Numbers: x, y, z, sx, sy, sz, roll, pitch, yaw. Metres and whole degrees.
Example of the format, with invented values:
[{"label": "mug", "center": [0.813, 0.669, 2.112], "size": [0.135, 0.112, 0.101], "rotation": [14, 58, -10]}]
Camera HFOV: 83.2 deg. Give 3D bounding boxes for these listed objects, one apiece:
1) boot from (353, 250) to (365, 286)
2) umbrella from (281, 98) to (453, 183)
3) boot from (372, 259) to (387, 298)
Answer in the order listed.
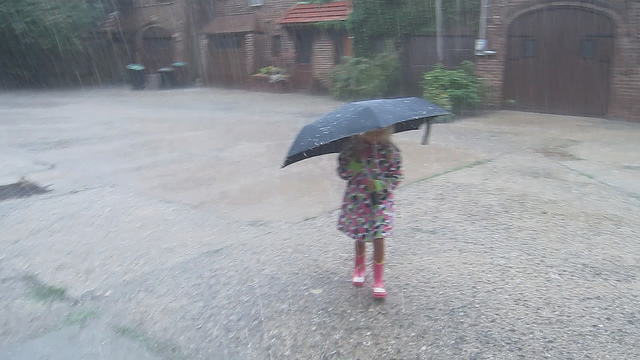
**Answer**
[{"label": "boot", "center": [0.542, 1.209, 4.957], "size": [0.158, 0.472, 0.218], "rotation": [-1, 21, 5]}, {"label": "umbrella", "center": [0.494, -0.348, 4.686], "size": [1.615, 0.726, 1.466], "rotation": [-20, 10, -23]}, {"label": "boot", "center": [0.799, 1.289, 4.737], "size": [0.181, 0.467, 0.262], "rotation": [0, 21, 8]}]
